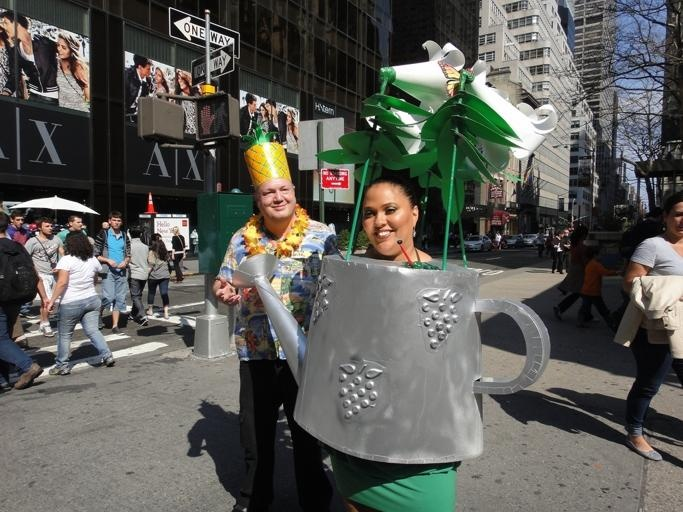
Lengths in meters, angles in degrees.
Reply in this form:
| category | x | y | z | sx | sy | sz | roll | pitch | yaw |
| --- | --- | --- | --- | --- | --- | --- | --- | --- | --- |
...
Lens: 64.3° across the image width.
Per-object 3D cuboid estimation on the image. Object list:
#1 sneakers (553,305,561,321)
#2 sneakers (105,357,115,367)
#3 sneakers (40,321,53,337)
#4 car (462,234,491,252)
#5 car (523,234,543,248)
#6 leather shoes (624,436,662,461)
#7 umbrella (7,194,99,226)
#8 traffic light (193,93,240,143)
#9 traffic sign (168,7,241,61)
| category | x | y | z | sx | sy | sz | roll | pitch | yaw |
| --- | --- | --- | --- | --- | --- | --- | --- | --- | --- |
| sneakers | 4.433 | 1.155 | 11.159 | 0.096 | 0.314 | 0.083 | -8 | 8 | -14 |
| sneakers | -3.321 | 1.489 | 7.773 | 0.126 | 0.138 | 0.115 | -3 | -4 | -14 |
| sneakers | -5.190 | 1.267 | 9.543 | 0.160 | 0.262 | 0.436 | -2 | 2 | -32 |
| car | 10.108 | -0.921 | 40.588 | 0.994 | 1.211 | 3.567 | 1 | 6 | 35 |
| car | 16.333 | -1.322 | 46.506 | 0.915 | 0.948 | 1.845 | 6 | 21 | 29 |
| leather shoes | 2.981 | 1.876 | 5.392 | 0.116 | 0.135 | 0.314 | -2 | 3 | -17 |
| umbrella | -8.000 | -1.297 | 14.889 | 1.190 | 0.555 | 1.360 | 8 | -2 | -6 |
| traffic light | -1.883 | -2.154 | 8.413 | 0.804 | 0.728 | 0.350 | 0 | 5 | 26 |
| traffic sign | -2.355 | -3.846 | 9.312 | 1.140 | 0.682 | 0.608 | -4 | 5 | -24 |
